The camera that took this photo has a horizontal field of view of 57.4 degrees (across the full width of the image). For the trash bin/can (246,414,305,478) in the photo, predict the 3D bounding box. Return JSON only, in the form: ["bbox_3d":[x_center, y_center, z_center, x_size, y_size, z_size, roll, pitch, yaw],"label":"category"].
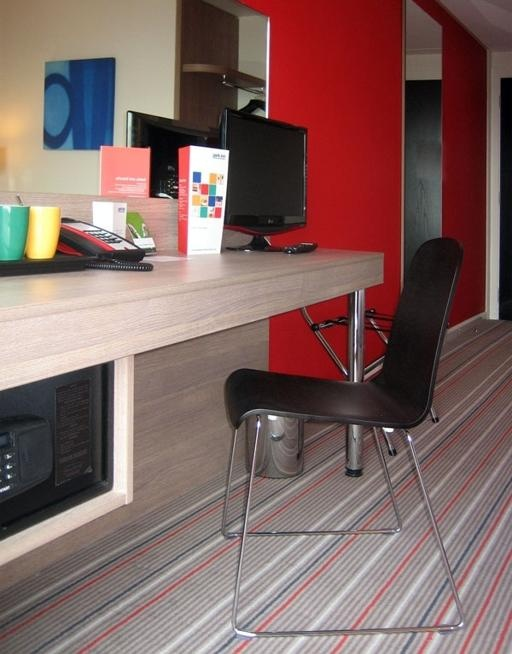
[{"bbox_3d":[0.111,0.407,1.879,0.230,0.327,0.262,0,1,14],"label":"trash bin/can"}]

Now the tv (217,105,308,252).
[{"bbox_3d":[0.081,-0.498,1.636,0.407,0.474,0.231,-8,15,-38],"label":"tv"}]

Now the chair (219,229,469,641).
[{"bbox_3d":[0.217,0.233,1.305,0.584,0.943,0.633,0,4,21],"label":"chair"}]
